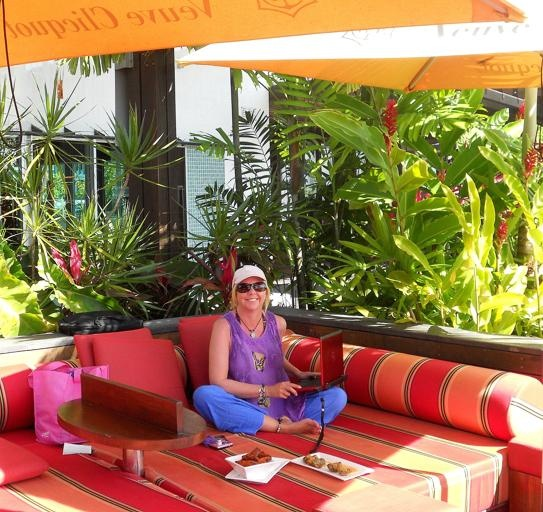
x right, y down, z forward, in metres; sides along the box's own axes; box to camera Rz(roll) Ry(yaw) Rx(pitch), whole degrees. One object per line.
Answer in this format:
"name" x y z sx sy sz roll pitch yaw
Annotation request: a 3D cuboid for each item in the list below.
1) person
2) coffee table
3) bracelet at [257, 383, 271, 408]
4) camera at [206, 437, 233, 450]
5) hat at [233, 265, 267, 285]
"person" -0.036 0.494 3.339 1.222 1.055 1.029 -1 -1 -43
"coffee table" -0.674 0.696 2.131 0.858 0.221 0.458 -2 -3 26
"bracelet" -0.048 0.843 2.845 0.051 0.125 0.108 -2 3 37
"camera" -0.298 1.012 2.565 0.072 0.019 0.071 -1 2 -44
"hat" -0.163 0.118 3.061 0.175 0.131 0.257 -2 -8 -20
